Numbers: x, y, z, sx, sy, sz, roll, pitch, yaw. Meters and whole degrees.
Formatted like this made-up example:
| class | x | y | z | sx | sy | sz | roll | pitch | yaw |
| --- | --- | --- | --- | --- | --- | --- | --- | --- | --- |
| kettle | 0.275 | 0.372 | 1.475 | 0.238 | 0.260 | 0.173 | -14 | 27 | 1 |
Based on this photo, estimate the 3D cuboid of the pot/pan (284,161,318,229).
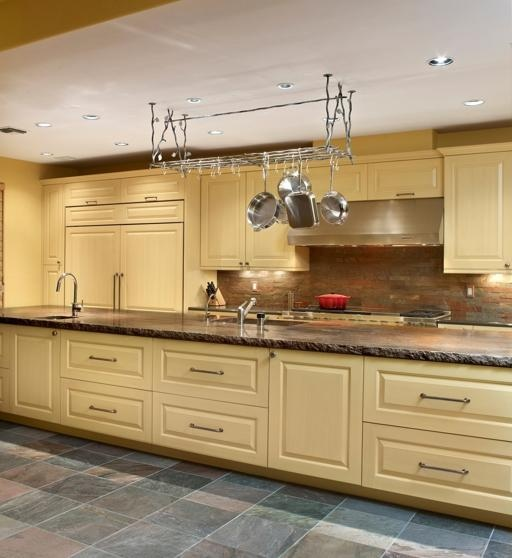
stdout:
| class | x | y | z | sx | sy | sz | roll | pitch | yaw |
| --- | --- | --- | --- | --- | --- | --- | --- | --- | --- |
| pot/pan | 0.302 | -0.503 | 3.154 | 0.237 | 0.345 | 0.060 | 0 | 12 | 36 |

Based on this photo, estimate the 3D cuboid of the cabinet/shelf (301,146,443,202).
| class | x | y | z | sx | sy | sz | roll | pitch | yaw |
| --- | --- | --- | --- | --- | --- | --- | --- | --- | --- |
| cabinet/shelf | 1.058 | -1.039 | 5.209 | 1.701 | 0.496 | 0.478 | 7 | 17 | 43 |

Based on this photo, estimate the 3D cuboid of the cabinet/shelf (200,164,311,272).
| class | x | y | z | sx | sy | sz | roll | pitch | yaw |
| --- | --- | --- | --- | --- | --- | --- | --- | --- | --- |
| cabinet/shelf | 0.070 | -0.648 | 5.651 | 1.509 | 1.130 | 0.580 | 5 | 6 | 44 |

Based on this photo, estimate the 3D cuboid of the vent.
| class | x | y | z | sx | sy | sz | roll | pitch | yaw |
| --- | --- | --- | --- | --- | --- | --- | --- | --- | --- |
| vent | 1.037 | -0.603 | 4.832 | 1.530 | 0.354 | 0.430 | -1 | -23 | -6 |

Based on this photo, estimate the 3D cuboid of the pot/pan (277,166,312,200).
| class | x | y | z | sx | sy | sz | roll | pitch | yaw |
| --- | --- | --- | --- | --- | --- | --- | --- | --- | --- |
| pot/pan | 0.265 | -0.661 | 3.369 | 0.267 | 0.217 | 0.058 | 18 | 10 | 23 |
